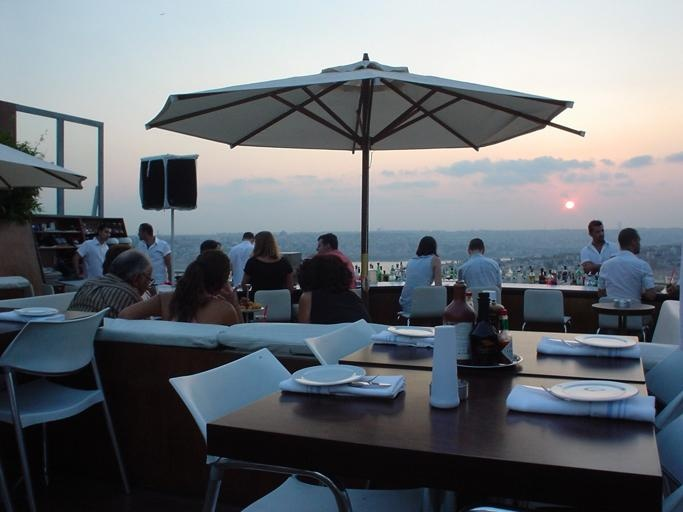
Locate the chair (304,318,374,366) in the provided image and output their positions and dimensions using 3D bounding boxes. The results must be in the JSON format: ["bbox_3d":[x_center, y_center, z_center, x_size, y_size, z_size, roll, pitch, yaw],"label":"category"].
[{"bbox_3d":[0.003,0.470,3.324,0.243,0.374,0.229,-12,2,44],"label":"chair"}]

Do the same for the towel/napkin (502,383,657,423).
[{"bbox_3d":[0.960,0.604,2.436,0.379,0.061,0.248,0,2,16],"label":"towel/napkin"}]

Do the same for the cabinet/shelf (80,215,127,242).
[{"bbox_3d":[-3.654,-0.459,9.293,0.757,0.457,0.518,4,-2,-24],"label":"cabinet/shelf"}]

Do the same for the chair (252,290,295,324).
[{"bbox_3d":[-0.635,0.475,5.550,0.254,0.390,0.308,1,5,-4],"label":"chair"}]

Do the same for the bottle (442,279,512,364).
[{"bbox_3d":[0.637,0.313,2.840,0.329,0.397,0.110,-3,7,-27],"label":"bottle"}]
